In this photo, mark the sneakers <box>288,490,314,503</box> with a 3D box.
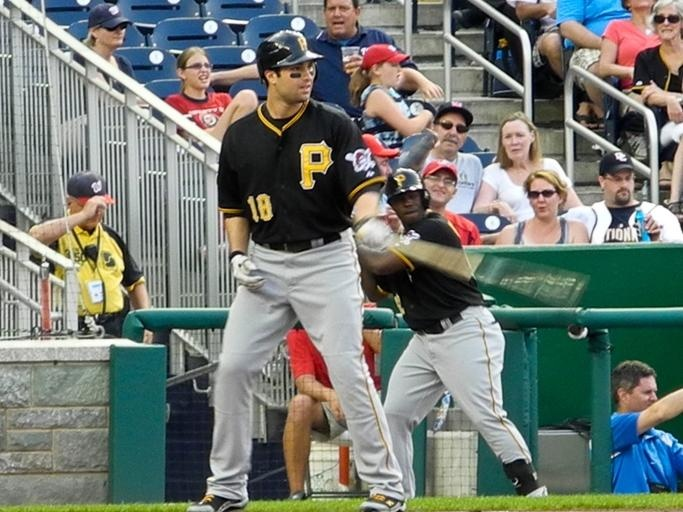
[{"bbox_3d":[-0.311,1.674,13.288,0.135,0.052,0.055,4,-5,-20],"label":"sneakers"}]

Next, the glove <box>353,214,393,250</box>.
[{"bbox_3d":[0.209,-0.148,12.783,0.169,0.221,0.371,-4,-3,24],"label":"glove"}]

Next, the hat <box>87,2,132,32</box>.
[{"bbox_3d":[-2.025,-2.052,16.426,0.321,0.156,0.212,-2,10,37],"label":"hat"}]

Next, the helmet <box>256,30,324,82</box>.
[{"bbox_3d":[-0.417,-1.321,12.847,0.402,0.209,0.295,-17,4,28],"label":"helmet"}]

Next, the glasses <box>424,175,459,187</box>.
[{"bbox_3d":[0.757,-0.592,15.099,0.157,0.059,0.201,7,-5,-7],"label":"glasses"}]

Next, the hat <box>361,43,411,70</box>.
[{"bbox_3d":[0.314,-1.606,15.436,0.317,0.141,0.194,-6,13,7],"label":"hat"}]

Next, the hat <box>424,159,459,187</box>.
[{"bbox_3d":[0.759,-0.674,15.269,0.184,0.121,0.241,9,-1,-3],"label":"hat"}]

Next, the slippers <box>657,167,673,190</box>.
[{"bbox_3d":[2.754,-0.657,16.315,0.188,0.229,0.128,-1,-29,8],"label":"slippers"}]

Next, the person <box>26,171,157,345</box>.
[{"bbox_3d":[-1.865,-0.012,14.575,0.312,1.260,0.698,-5,-4,43],"label":"person"}]

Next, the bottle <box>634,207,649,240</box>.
[{"bbox_3d":[2.398,-0.248,15.265,0.115,0.253,0.069,-3,-3,8],"label":"bottle"}]

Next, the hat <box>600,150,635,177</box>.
[{"bbox_3d":[2.209,-0.750,15.484,0.256,0.211,0.331,-3,-3,8],"label":"hat"}]

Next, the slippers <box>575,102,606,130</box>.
[{"bbox_3d":[2.263,-1.281,17.564,0.139,0.145,0.388,0,0,-4],"label":"slippers"}]

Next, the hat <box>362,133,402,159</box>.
[{"bbox_3d":[0.269,-0.818,14.519,0.305,0.113,0.194,28,15,6],"label":"hat"}]

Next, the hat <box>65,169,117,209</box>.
[{"bbox_3d":[-1.930,-0.508,14.527,0.332,0.171,0.221,16,17,19],"label":"hat"}]

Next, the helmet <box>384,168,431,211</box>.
[{"bbox_3d":[0.441,-0.479,13.482,0.242,0.254,0.309,-25,0,18],"label":"helmet"}]
